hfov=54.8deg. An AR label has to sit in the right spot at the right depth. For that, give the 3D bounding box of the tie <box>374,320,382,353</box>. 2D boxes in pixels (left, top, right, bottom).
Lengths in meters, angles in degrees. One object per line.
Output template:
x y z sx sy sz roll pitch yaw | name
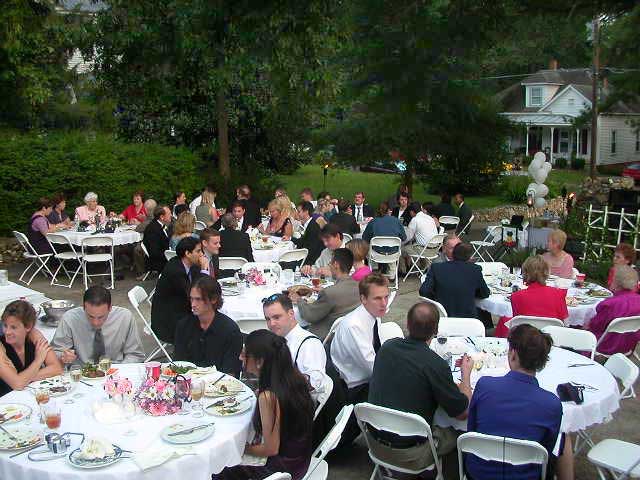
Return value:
0.559 0.987 6.243 0.085 0.267 0.217 -1 1 10 | tie

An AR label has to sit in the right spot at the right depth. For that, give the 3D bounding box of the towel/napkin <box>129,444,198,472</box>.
-1.176 1.583 4.521 0.235 0.046 0.206 -5 8 -37 | towel/napkin

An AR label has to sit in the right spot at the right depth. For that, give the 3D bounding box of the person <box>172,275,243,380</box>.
-1.131 0.923 6.093 0.657 1.148 0.631 8 13 22 | person

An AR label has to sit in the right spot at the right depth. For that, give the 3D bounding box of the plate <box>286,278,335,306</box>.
-0.186 0.674 7.558 0.332 0.382 0.356 3 11 6 | plate

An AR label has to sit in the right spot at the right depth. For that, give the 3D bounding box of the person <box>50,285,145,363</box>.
-2.215 1.027 6.172 0.854 1.157 0.628 2 22 -18 | person
